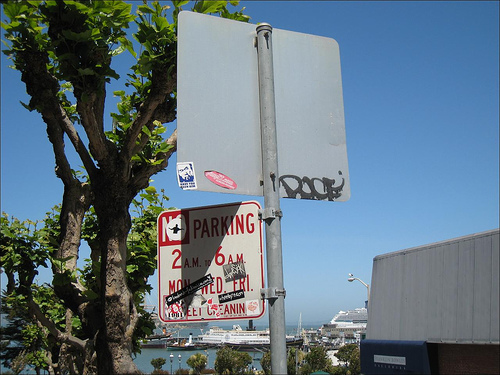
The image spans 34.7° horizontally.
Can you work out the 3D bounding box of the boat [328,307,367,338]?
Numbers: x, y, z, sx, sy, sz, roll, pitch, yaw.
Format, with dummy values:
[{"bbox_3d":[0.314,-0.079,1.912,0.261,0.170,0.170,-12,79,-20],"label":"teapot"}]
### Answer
[{"bbox_3d":[24.904,32.150,196.907,5.561,7.827,20.640,23,0,22],"label":"boat"}]
